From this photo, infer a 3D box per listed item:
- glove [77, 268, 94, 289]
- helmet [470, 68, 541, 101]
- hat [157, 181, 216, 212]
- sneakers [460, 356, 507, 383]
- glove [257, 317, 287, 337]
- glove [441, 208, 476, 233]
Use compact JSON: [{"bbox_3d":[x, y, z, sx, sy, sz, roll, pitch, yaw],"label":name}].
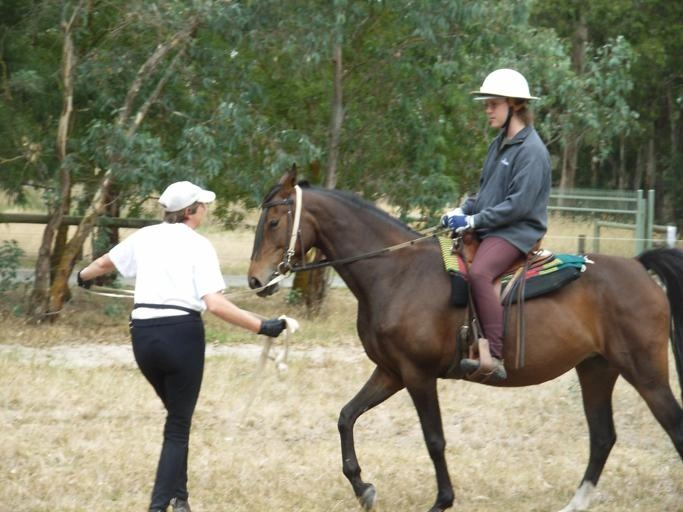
[{"bbox_3d":[-2.740,0.262,10.401,0.247,0.222,0.241,2,3,-18],"label":"glove"},{"bbox_3d":[1.760,-1.831,10.545,0.527,0.227,0.418,5,5,10],"label":"helmet"},{"bbox_3d":[-1.587,-0.648,9.985,0.503,0.207,0.299,-7,25,-13],"label":"hat"},{"bbox_3d":[1.493,1.211,10.289,0.431,0.165,0.249,13,4,-19],"label":"sneakers"},{"bbox_3d":[-0.707,0.727,10.016,0.286,0.127,0.278,5,15,-5],"label":"glove"},{"bbox_3d":[1.259,-0.369,10.540,0.298,0.218,0.100,-10,-27,21],"label":"glove"}]
